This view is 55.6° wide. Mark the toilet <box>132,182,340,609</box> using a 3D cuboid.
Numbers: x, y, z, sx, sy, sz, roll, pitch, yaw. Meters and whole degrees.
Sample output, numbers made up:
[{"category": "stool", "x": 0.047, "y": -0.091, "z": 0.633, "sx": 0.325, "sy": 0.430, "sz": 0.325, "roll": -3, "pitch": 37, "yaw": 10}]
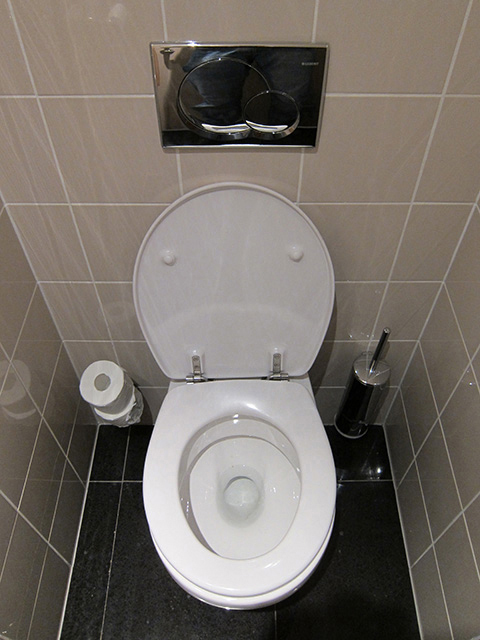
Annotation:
[{"category": "toilet", "x": -0.014, "y": 0.166, "z": 0.796, "sx": 0.380, "sy": 0.503, "sz": 0.521, "roll": 1, "pitch": 52, "yaw": 0}]

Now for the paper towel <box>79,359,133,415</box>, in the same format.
[{"category": "paper towel", "x": -0.311, "y": 0.160, "z": 1.105, "sx": 0.095, "sy": 0.124, "sz": 0.133, "roll": -21, "pitch": 77, "yaw": -9}]
